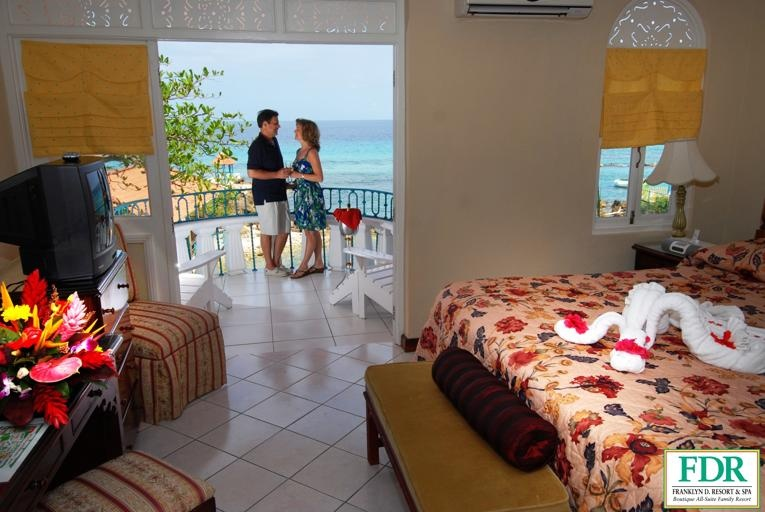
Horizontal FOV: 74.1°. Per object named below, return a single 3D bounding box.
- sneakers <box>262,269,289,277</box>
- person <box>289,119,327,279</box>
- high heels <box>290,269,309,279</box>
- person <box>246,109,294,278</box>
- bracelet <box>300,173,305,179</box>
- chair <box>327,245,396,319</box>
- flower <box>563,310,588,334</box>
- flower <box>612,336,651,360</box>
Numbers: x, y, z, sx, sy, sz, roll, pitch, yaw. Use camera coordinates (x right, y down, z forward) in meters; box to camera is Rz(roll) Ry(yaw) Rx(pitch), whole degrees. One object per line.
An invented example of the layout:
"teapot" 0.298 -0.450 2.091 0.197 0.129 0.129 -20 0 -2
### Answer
"sneakers" -1.307 0.181 6.233 0.259 0.092 0.098 0 10 5
"person" -0.930 -0.687 6.046 0.445 1.849 0.447 -3 15 -5
"high heels" -1.007 0.203 6.140 0.091 0.062 0.233 8 11 40
"person" -1.313 -0.719 5.943 0.477 1.951 0.467 -5 15 -12
"bracelet" -0.918 -0.930 5.773 0.049 0.017 0.061 -1 -27 0
"chair" -0.131 0.249 5.120 0.606 0.424 0.703 -6 11 -43
"flower" 1.054 0.358 2.794 0.124 0.051 0.122 -14 30 -33
"flower" 1.260 0.458 2.552 0.178 0.086 0.133 -14 19 -39
